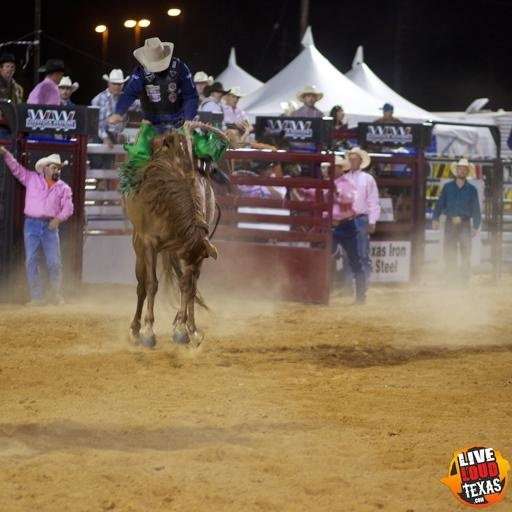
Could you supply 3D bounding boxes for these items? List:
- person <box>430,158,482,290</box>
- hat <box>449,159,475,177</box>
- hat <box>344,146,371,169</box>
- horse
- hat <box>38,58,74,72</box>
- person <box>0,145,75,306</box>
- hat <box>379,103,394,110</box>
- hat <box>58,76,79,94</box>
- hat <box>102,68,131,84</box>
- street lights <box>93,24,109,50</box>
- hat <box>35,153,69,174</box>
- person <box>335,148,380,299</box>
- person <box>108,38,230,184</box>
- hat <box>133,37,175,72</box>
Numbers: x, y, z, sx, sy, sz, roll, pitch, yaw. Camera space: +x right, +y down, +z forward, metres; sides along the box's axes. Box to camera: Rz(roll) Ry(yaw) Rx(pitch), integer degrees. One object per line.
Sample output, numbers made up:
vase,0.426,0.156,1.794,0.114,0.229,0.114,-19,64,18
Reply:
person,3.148,-0.566,14.262,0.778,1.909,0.717,8,11,39
hat,3.273,-1.425,14.439,0.311,0.362,0.133,10,49,10
hat,1.428,-1.423,12.392,0.103,0.338,0.312,-37,7,-24
horse,-0.825,-0.144,8.515,0.826,2.031,1.162,0,9,-9
hat,-2.920,-2.717,12.971,0.327,0.208,0.512,0,9,-8
person,-2.704,-0.361,11.364,0.797,1.921,0.477,-1,9,-13
hat,2.384,-2.718,16.569,0.174,0.121,0.229,-7,8,-38
hat,-2.897,-2.700,14.045,0.406,0.191,0.476,-4,-8,-19
hat,-2.236,-2.857,14.451,0.522,0.232,0.589,0,3,-16
street lights,-3.217,-4.570,18.786,0.279,0.468,0.303,0,9,-4
hat,-2.599,-1.165,11.284,0.294,0.120,0.276,-24,-19,35
person,1.365,-0.489,12.166,0.557,1.834,0.925,-1,9,-14
person,-0.920,-1.405,9.309,1.189,1.609,1.068,-5,18,12
hat,-1.009,-2.026,9.123,0.394,0.347,0.353,-4,10,-29
